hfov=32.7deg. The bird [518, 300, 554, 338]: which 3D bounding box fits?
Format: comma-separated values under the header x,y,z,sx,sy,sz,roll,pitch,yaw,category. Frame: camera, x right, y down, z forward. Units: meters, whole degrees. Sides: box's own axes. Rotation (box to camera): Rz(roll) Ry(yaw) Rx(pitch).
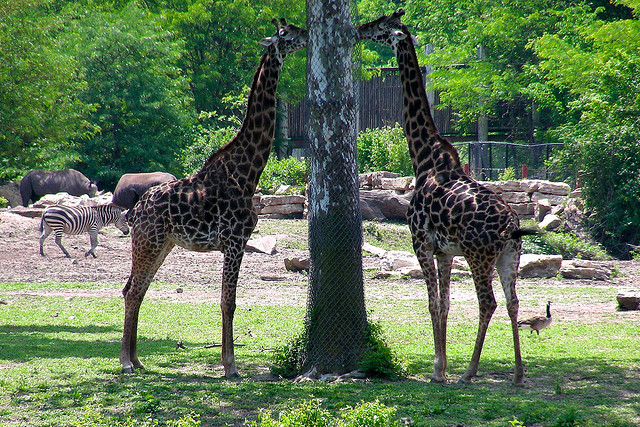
x,y,z,sx,sy,sz,roll,pitch,yaw,category
7.475,3.764,38.202,1.598,1.272,0.499,1,-7,-4,bird
